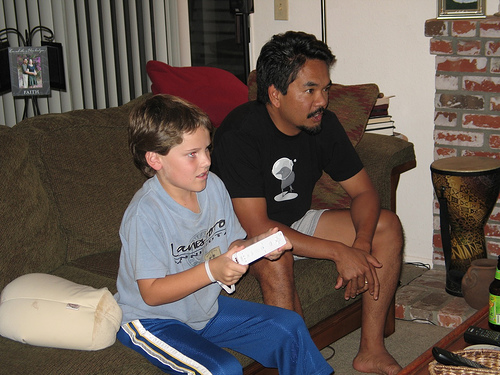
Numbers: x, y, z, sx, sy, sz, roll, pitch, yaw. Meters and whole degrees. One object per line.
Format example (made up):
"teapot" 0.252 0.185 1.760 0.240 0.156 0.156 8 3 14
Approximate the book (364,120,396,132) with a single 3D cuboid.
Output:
"book" 0.764 -0.361 2.508 0.148 0.038 0.154 4 10 43

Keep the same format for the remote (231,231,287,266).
"remote" 0.040 0.176 1.257 0.193 0.064 0.021 -22 -18 -27

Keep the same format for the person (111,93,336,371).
"person" -0.129 0.138 1.251 0.483 0.808 0.475 -6 11 -30

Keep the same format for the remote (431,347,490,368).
"remote" 0.544 0.448 1.109 0.136 0.029 0.056 6 11 31
